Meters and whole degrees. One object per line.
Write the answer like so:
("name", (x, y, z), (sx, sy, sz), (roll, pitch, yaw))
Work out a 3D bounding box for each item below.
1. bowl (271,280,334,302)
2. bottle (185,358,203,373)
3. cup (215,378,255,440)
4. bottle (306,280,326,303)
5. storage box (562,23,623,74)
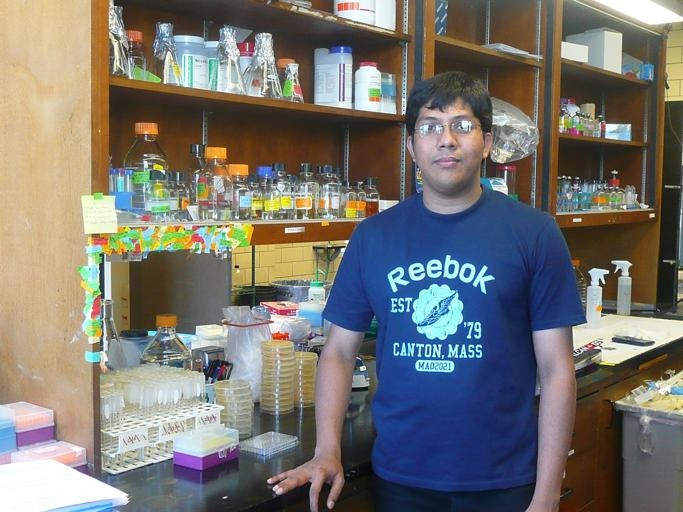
("bowl", (-0.243, 0.145, 3.230), (0.153, 0.139, 0.185), (0, -2, -35))
("bottle", (-0.519, 0.389, 2.280), (0.045, 0.049, 0.085), (5, -2, 42))
("cup", (-0.341, 0.482, 2.070), (0.150, 0.164, 0.152), (0, 3, 0))
("bottle", (-0.114, 0.165, 2.965), (0.086, 0.119, 0.081), (0, 3, 0))
("storage box", (1.601, -1.302, 4.114), (0.300, 0.257, 0.312), (9, 10, 43))
